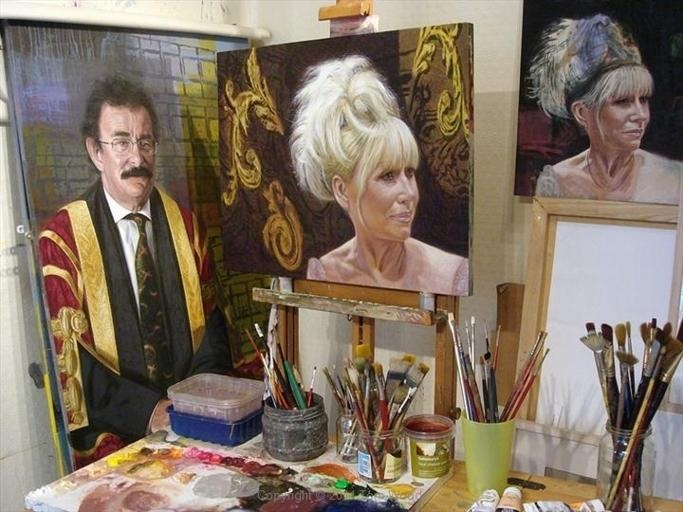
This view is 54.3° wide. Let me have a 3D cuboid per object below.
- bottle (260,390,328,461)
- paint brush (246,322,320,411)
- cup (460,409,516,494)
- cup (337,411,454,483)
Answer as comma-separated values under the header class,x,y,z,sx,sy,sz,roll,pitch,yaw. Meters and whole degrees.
class,x,y,z,sx,sy,sz,roll,pitch,yaw
bottle,-0.126,0.459,1.826,0.136,0.120,0.148,-1,0,1
paint brush,-0.191,0.339,2.074,0.104,0.393,0.090,-22,13,13
cup,0.354,0.473,1.670,0.167,0.248,0.166,-1,-2,0
cup,0.168,0.483,1.735,0.212,0.114,0.149,-3,10,5
